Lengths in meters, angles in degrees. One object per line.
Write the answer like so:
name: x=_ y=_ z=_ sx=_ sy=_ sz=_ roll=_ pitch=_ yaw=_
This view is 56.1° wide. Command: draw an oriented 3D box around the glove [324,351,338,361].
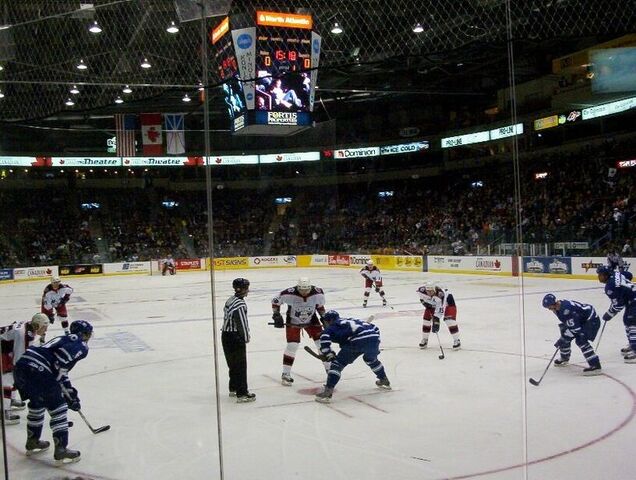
glove: x=0.161 y=1.557 z=7.988 sx=0.116 sy=0.128 sz=0.146 roll=0 pitch=-18 yaw=-20

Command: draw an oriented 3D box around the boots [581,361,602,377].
boots: x=4.028 y=1.894 z=8.786 sx=0.292 sy=0.200 sz=0.174 roll=-1 pitch=-3 yaw=8

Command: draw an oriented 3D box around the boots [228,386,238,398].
boots: x=-1.179 y=2.090 z=8.187 sx=0.139 sy=0.127 sz=0.136 roll=0 pitch=-3 yaw=0

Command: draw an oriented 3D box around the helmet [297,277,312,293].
helmet: x=-0.200 y=0.646 z=8.433 sx=0.178 sy=0.188 sz=0.204 roll=-3 pitch=2 yaw=0

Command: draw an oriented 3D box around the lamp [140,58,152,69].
lamp: x=-2.002 y=-2.038 z=6.924 sx=0.104 sy=0.132 sz=0.217 roll=-4 pitch=1 yaw=-11

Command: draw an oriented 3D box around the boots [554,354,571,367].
boots: x=3.737 y=1.870 z=9.261 sx=0.290 sy=0.127 sz=0.130 roll=-4 pitch=30 yaw=5

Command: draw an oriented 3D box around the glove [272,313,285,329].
glove: x=-0.571 y=1.149 z=8.483 sx=0.165 sy=0.220 sz=0.078 roll=-6 pitch=-13 yaw=-8

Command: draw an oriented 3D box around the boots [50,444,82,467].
boots: x=-2.772 y=2.365 z=6.536 sx=0.319 sy=0.216 sz=0.154 roll=-2 pitch=3 yaw=-12

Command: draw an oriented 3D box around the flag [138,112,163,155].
flag: x=-2.085 y=-1.322 z=7.492 sx=0.274 sy=0.535 sz=0.043 roll=-1 pitch=10 yaw=-1

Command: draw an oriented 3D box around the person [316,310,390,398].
person: x=0.421 y=1.560 z=8.305 sx=0.878 sy=1.220 sz=1.309 roll=-12 pitch=-8 yaw=40

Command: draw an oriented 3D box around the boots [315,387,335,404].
boots: x=0.078 y=2.070 z=7.970 sx=0.121 sy=0.215 sz=0.324 roll=12 pitch=-8 yaw=-40

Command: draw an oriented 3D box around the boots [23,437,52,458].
boots: x=-3.142 y=2.348 z=6.784 sx=0.379 sy=0.256 sz=0.123 roll=-1 pitch=7 yaw=-28

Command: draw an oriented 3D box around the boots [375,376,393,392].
boots: x=0.951 y=2.011 z=8.312 sx=0.107 sy=0.207 sz=0.305 roll=-2 pitch=4 yaw=-39

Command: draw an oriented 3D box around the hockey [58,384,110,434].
hockey: x=-2.912 y=2.119 z=7.395 sx=1.042 sy=0.304 sz=0.145 roll=39 pitch=26 yaw=26

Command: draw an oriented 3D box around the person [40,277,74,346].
person: x=-5.201 y=1.349 z=11.826 sx=0.615 sy=1.326 sz=0.661 roll=6 pitch=9 yaw=39

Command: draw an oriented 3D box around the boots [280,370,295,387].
boots: x=-0.467 y=2.062 z=8.833 sx=0.146 sy=0.173 sz=0.400 roll=1 pitch=-14 yaw=-12

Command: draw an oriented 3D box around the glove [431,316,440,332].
glove: x=2.011 y=1.455 z=10.237 sx=0.190 sy=0.267 sz=0.118 roll=0 pitch=-10 yaw=4

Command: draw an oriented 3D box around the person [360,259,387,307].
person: x=1.426 y=1.076 z=15.207 sx=0.744 sy=1.228 sz=0.680 roll=-10 pitch=15 yaw=-31

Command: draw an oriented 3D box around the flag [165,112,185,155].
flag: x=-1.989 y=-1.453 z=8.268 sx=0.265 sy=0.548 sz=0.004 roll=0 pitch=8 yaw=9

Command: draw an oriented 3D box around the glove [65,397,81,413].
glove: x=-2.748 y=1.855 z=6.714 sx=0.151 sy=0.057 sz=0.149 roll=12 pitch=-19 yaw=4

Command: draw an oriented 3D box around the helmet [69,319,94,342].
helmet: x=-2.756 y=1.029 z=6.921 sx=0.211 sy=0.247 sz=0.273 roll=9 pitch=11 yaw=41

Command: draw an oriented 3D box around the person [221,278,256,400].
person: x=-1.115 y=1.345 z=8.167 sx=0.415 sy=1.413 sz=0.791 roll=-4 pitch=1 yaw=-8

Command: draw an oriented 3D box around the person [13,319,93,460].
person: x=-2.979 y=1.773 z=6.673 sx=0.755 sy=1.547 sz=0.316 roll=-3 pitch=2 yaw=12

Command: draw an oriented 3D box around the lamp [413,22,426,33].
lamp: x=1.052 y=-2.238 z=6.341 sx=0.125 sy=0.138 sz=0.120 roll=-10 pitch=43 yaw=-5

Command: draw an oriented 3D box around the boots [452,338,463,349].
boots: x=2.476 y=1.867 z=10.720 sx=0.149 sy=0.187 sz=0.438 roll=-5 pitch=-9 yaw=14

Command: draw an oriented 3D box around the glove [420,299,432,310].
glove: x=1.863 y=1.158 z=10.476 sx=0.203 sy=0.067 sz=0.149 roll=33 pitch=30 yaw=1

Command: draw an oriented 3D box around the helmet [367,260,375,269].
helmet: x=1.317 y=0.616 z=15.015 sx=0.196 sy=0.216 sz=0.244 roll=-1 pitch=-6 yaw=3

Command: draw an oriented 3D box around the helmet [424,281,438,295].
helmet: x=1.940 y=0.837 z=10.261 sx=0.158 sy=0.196 sz=0.208 roll=-8 pitch=7 yaw=25
